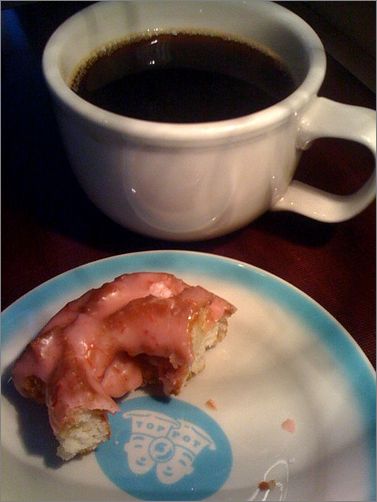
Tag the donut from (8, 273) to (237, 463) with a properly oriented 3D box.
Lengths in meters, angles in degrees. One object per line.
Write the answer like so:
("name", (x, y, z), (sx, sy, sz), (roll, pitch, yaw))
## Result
("donut", (-0.061, 0.094, 0.522), (0.157, 0.071, 0.214), (33, 48, 26))
